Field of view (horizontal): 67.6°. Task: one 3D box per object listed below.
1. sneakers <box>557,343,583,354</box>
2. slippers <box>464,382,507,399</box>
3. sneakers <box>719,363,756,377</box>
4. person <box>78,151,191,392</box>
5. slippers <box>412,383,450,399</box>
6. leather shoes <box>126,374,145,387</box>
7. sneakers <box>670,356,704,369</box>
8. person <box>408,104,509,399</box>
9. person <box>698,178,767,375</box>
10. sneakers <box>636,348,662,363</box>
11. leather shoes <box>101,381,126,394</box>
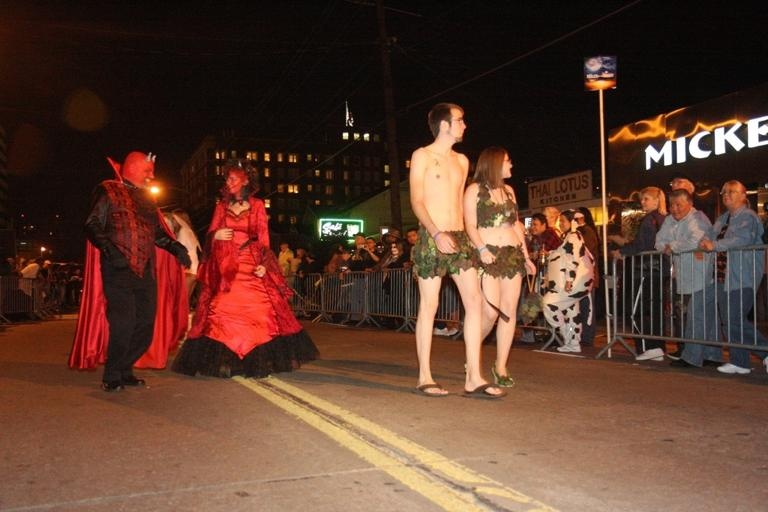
[{"bbox_3d":[2.901,1.449,9.157,0.422,0.196,0.159,0,-4,32],"label":"sneakers"},{"bbox_3d":[1.008,1.371,5.838,0.320,0.101,0.183,-2,-5,13],"label":"slippers"},{"bbox_3d":[4.392,1.445,7.272,0.442,0.193,0.167,1,-8,18],"label":"sneakers"},{"bbox_3d":[-2.921,0.138,6.652,0.949,2.400,1.006,0,0,-29],"label":"person"},{"bbox_3d":[0.462,1.379,5.936,0.356,0.129,0.209,-1,0,21],"label":"slippers"},{"bbox_3d":[-2.824,1.428,6.583,0.231,0.098,0.108,-1,-2,10],"label":"leather shoes"},{"bbox_3d":[4.061,1.451,7.769,0.218,0.149,0.373,6,-11,-45],"label":"sneakers"},{"bbox_3d":[0.678,-0.111,5.998,0.840,3.020,0.710,0,0,-8],"label":"person"},{"bbox_3d":[4.530,0.238,7.438,0.639,2.691,1.108,0,0,29],"label":"person"},{"bbox_3d":[3.803,1.429,8.298,0.323,0.126,0.187,1,-4,20],"label":"sneakers"},{"bbox_3d":[-2.938,1.430,6.298,0.228,0.104,0.108,-8,-15,29],"label":"leather shoes"}]
